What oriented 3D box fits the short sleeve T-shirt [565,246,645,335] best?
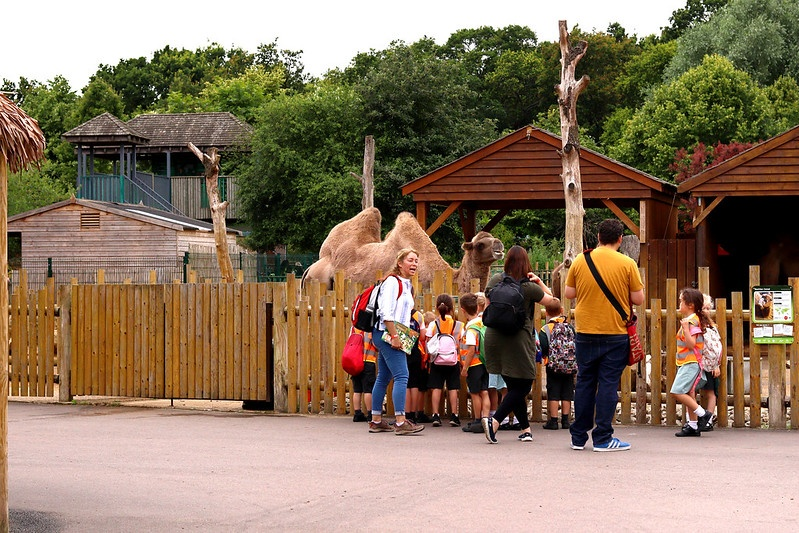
[{"bbox_3d":[4.019,0.567,29.205,1.754,1.779,0.962,1,1,12],"label":"short sleeve T-shirt"}]

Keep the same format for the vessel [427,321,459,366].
[{"bbox_3d":[0.971,1.565,30.753,0.619,0.889,0.487,-2,7,11],"label":"vessel"}]

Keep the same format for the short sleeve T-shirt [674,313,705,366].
[{"bbox_3d":[5.894,1.540,30.316,0.601,1.081,1.098,0,0,10],"label":"short sleeve T-shirt"}]

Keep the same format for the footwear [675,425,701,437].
[{"bbox_3d":[5.802,3.313,29.871,0.620,0.291,0.200,1,-3,7],"label":"footwear"}]

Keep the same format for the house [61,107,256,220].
[{"bbox_3d":[-9.663,-4.266,62.229,9.279,4.266,7.502,0,5,-34],"label":"house"}]

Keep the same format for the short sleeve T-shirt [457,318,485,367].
[{"bbox_3d":[1.460,1.549,30.662,0.499,0.970,0.831,3,21,4],"label":"short sleeve T-shirt"}]

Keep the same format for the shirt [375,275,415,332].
[{"bbox_3d":[-0.106,0.799,29.983,0.915,1.372,0.755,3,-11,1],"label":"shirt"}]

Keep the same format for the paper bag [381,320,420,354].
[{"bbox_3d":[0.070,1.450,30.122,0.632,0.640,0.198,24,-17,-31],"label":"paper bag"}]

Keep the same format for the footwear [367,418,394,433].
[{"bbox_3d":[-0.382,3.287,30.354,0.499,0.218,0.216,-2,-2,3],"label":"footwear"}]

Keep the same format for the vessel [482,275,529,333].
[{"bbox_3d":[2.113,0.777,29.683,0.866,1.147,0.646,4,-6,24],"label":"vessel"}]

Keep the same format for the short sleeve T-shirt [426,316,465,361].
[{"bbox_3d":[0.945,1.564,30.755,0.660,0.885,0.486,-1,7,6],"label":"short sleeve T-shirt"}]

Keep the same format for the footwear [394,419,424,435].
[{"bbox_3d":[0.195,3.268,30.210,0.574,0.250,0.264,-1,0,2],"label":"footwear"}]
